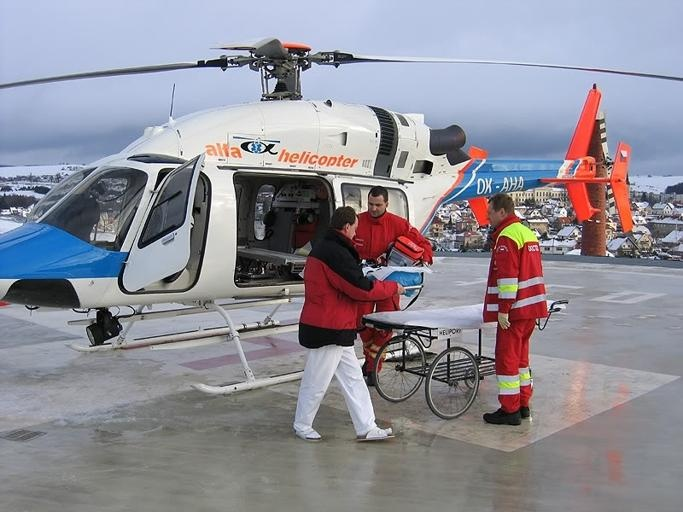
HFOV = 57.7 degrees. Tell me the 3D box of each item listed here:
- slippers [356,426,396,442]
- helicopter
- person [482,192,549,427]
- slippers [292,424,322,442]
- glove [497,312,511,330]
[{"bbox_3d":[0.322,1.614,5.664,0.300,0.077,0.152,-2,-1,-4],"label":"slippers"},{"bbox_3d":[-0.034,-0.706,8.096,7.447,1.825,5.597,-1,2,-37],"label":"helicopter"},{"bbox_3d":[1.666,0.511,6.005,0.557,2.213,0.484,-2,10,-16],"label":"person"},{"bbox_3d":[-0.329,1.619,5.728,0.256,0.069,0.125,2,3,31],"label":"slippers"},{"bbox_3d":[1.538,0.601,5.824,0.105,0.177,0.093,4,10,21],"label":"glove"}]
